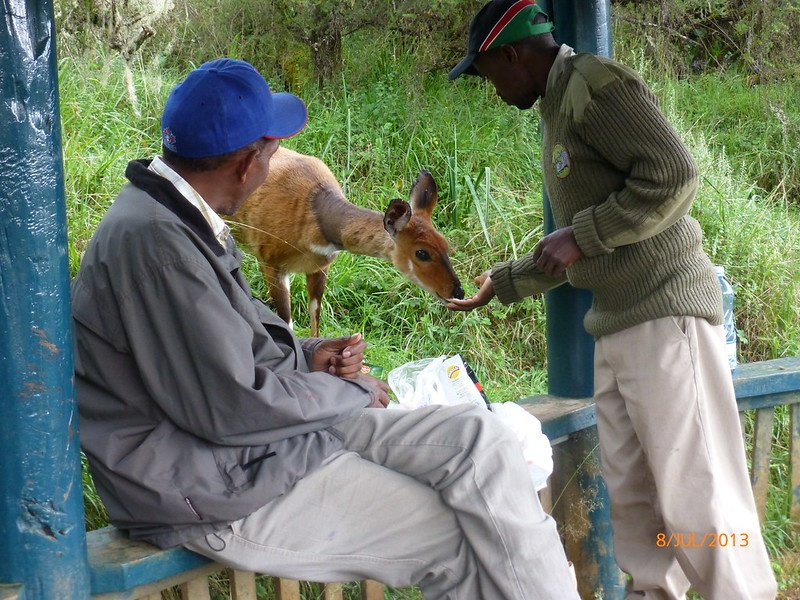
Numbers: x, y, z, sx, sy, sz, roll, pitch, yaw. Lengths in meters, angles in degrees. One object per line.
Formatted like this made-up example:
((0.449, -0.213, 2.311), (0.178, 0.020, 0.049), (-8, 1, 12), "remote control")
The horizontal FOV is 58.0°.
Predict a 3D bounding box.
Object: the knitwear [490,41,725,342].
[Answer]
((0.910, -0.484, 3.482), (0.772, 1.373, 1.288), (-14, 6, -15), "knitwear")

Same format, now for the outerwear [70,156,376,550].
((-0.713, 0.110, 2.976), (1.079, 1.397, 1.085), (-3, 17, -9), "outerwear")

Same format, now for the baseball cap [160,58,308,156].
((-0.664, -0.829, 2.895), (0.398, 0.325, 0.622), (19, 39, 29), "baseball cap")

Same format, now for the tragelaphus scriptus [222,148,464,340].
((-0.361, -0.293, 4.308), (1.438, 0.900, 0.412), (23, 54, 29), "tragelaphus scriptus")

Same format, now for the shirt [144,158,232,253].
((-0.790, -0.384, 2.842), (0.203, 0.373, 0.287), (-39, -4, -39), "shirt")
